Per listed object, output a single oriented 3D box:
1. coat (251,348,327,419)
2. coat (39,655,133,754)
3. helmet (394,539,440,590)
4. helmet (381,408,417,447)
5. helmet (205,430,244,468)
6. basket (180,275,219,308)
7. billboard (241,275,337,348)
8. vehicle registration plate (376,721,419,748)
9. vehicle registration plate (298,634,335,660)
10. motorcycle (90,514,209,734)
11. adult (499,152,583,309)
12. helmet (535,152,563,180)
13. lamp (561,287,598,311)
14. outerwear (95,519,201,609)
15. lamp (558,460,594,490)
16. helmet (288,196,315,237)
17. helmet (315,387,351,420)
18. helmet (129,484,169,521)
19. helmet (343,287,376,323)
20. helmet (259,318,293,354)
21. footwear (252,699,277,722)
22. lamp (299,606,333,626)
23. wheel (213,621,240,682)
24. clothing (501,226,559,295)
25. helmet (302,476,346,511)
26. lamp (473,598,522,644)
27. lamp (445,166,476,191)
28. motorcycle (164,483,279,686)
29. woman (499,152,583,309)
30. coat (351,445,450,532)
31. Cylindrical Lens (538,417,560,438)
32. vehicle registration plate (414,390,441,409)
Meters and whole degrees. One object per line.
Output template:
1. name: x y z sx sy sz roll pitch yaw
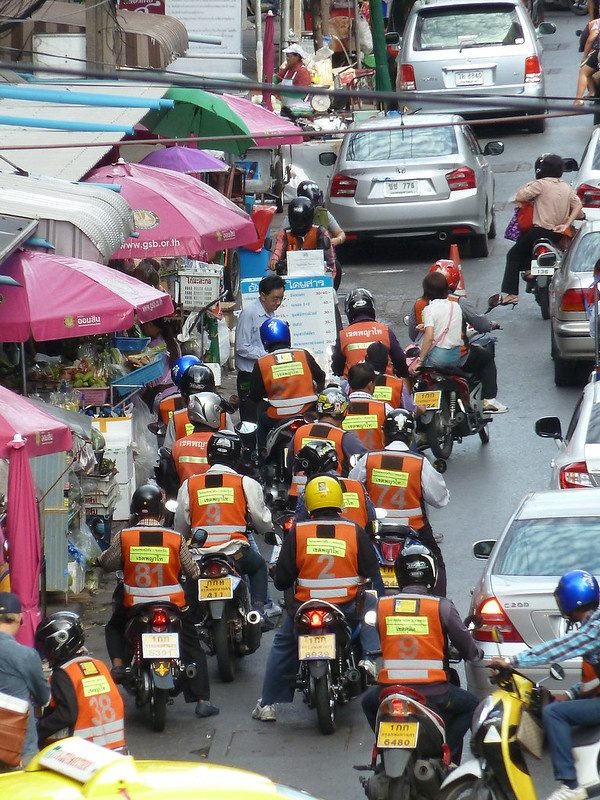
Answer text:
1. coat: -0.104 -0.131 9.963 0.641 0.528 0.348 -4 21 7
2. coat: -0.998 1.388 5.080 0.384 0.423 0.278 -8 18 -15
3. helmet: 0.556 0.823 5.434 0.184 0.234 0.253 -2 17 4
4. helmet: 0.679 0.179 7.893 0.195 0.250 0.257 4 23 3
5. helmet: -0.492 0.323 7.452 0.209 0.207 0.234 5 11 5
6. basket: -1.163 -1.329 13.661 0.527 0.484 0.381 2 16 4
7. billboard: -0.134 -0.946 12.062 0.896 0.758 0.086 -5 6 5
8. vehicle registration plate: 0.422 1.435 4.858 0.127 0.017 0.113 -1 60 3
9. vehicle registration plate: 0.093 1.334 6.113 0.148 0.099 0.019 0 -7 11
10. motorcycle: -0.767 1.320 6.601 0.627 0.749 1.325 -3 13 -3
11. adult: 3.278 -2.399 15.332 1.227 1.410 2.207 2 34 15
12. helmet: 3.406 -3.185 15.413 0.340 0.384 0.416 4 21 10
13. lamp: 3.063 -1.132 12.451 0.272 0.252 0.254 6 41 13
14. outerwear: -0.886 0.877 6.836 0.399 0.373 0.663 -1 10 -1
15. lamp: 1.847 0.498 7.516 0.169 0.081 0.234 1 12 11
16. helmet: 0.007 -2.168 13.520 0.345 0.435 0.431 0 60 4
17. helmet: 0.261 0.012 8.156 0.192 0.221 0.230 10 17 25
18. helmet: -0.906 0.592 6.702 0.176 0.177 0.223 4 21 9
19. helmet: 0.575 -0.894 10.704 0.269 0.315 0.346 1 16 5
20. helmet: -0.221 -0.597 10.478 0.276 0.299 0.330 -2 11 5
21. footwear: -0.214 1.859 6.788 0.077 0.085 0.185 1 4 -10
22. lamp: 0.083 1.188 6.180 0.170 0.084 0.054 -1 -9 12
23. wheel: -0.480 1.616 7.320 0.135 0.398 0.373 -5 19 1
24. clothing: 3.124 -1.926 15.408 0.581 0.674 1.079 5 21 16
25. helmet: 0.138 0.538 6.439 0.219 0.209 0.199 -4 17 -3
26. lamp: 0.995 1.111 5.681 0.157 0.120 0.260 0 13 4
27. lamp: 2.417 -3.341 17.222 0.554 0.480 0.312 -1 17 3
28. motorcycle: -0.480 0.959 7.293 0.590 0.841 1.476 -3 15 3
29. woman: 3.291 -2.381 15.342 1.227 1.410 2.207 2 34 15
30. coat: 0.684 0.487 7.670 0.761 0.513 0.409 2 24 16
31. Cylindrical Lens: 1.957 0.217 8.929 0.145 0.105 0.193 3 -4 -22
32. vehicle registration plate: 1.247 -0.001 11.028 0.182 0.134 0.019 2 -4 19
